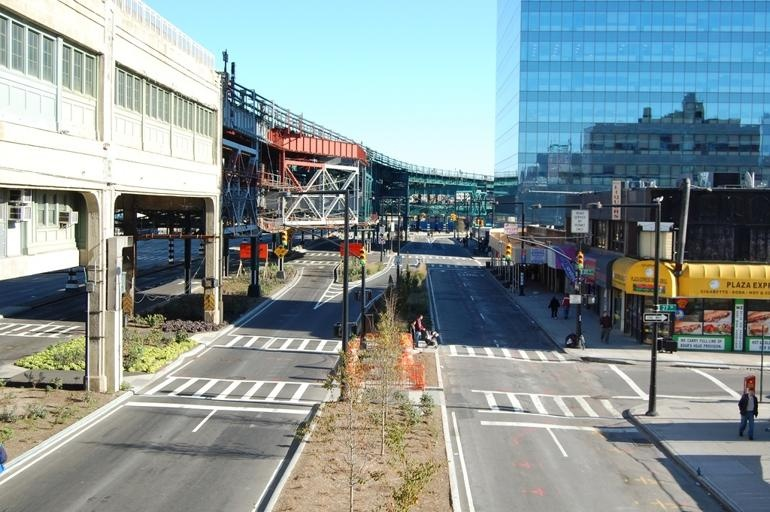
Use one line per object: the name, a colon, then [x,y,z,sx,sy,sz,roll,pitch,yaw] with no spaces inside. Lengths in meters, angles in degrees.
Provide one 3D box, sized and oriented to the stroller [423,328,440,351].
stroller: [3.255,5.654,52.453,0.779,0.947,1.484,0,-4,-6]
